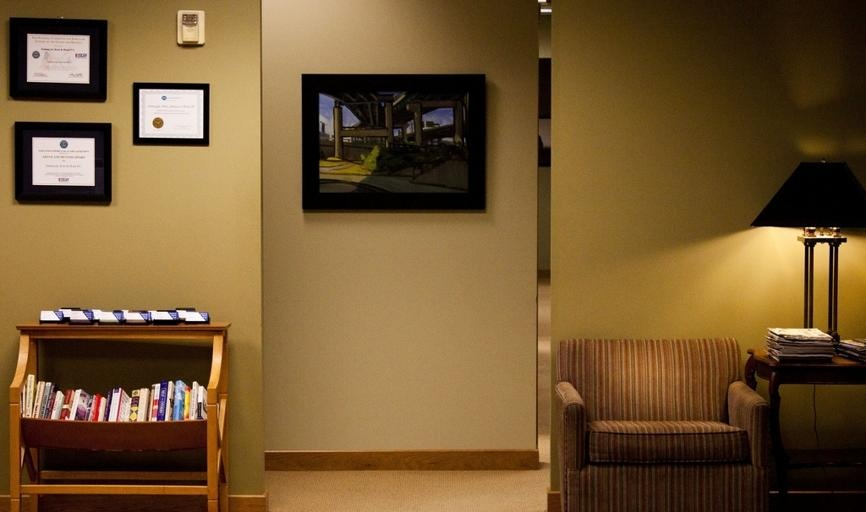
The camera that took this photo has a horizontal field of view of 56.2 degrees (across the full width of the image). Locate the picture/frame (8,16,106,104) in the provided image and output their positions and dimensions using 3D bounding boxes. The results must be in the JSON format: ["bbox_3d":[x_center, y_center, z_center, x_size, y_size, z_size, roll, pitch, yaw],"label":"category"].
[{"bbox_3d":[-2.677,-1.408,5.762,0.569,0.501,0.047,1,1,-4],"label":"picture/frame"}]

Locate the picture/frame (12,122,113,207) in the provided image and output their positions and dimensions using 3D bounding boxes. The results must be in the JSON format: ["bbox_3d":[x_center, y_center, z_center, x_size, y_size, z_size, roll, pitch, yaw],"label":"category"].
[{"bbox_3d":[-2.651,-0.675,5.777,0.567,0.500,0.049,0,4,0],"label":"picture/frame"}]

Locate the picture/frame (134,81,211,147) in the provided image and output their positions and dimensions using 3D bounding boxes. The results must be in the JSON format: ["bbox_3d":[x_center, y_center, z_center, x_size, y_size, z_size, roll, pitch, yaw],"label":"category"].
[{"bbox_3d":[-1.879,-1.029,5.800,0.449,0.378,0.036,-1,3,-1],"label":"picture/frame"}]
